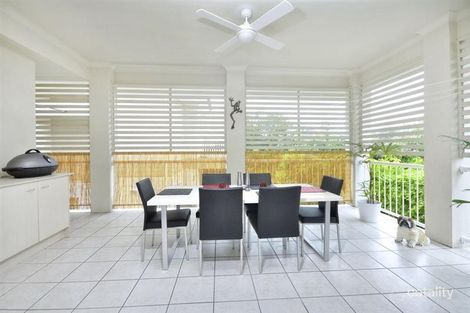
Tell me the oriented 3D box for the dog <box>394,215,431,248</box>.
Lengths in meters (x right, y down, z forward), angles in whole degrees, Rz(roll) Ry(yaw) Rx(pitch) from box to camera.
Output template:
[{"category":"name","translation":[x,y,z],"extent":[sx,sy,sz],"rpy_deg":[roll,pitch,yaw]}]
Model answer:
[{"category":"dog","translation":[2.938,1.255,5.484],"extent":[0.587,0.412,0.435],"rpy_deg":[15,-16,-23]}]

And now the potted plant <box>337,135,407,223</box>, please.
[{"category":"potted plant","translation":[2.797,0.548,6.657],"extent":[1.091,1.633,1.152],"rpy_deg":[9,-8,-8]}]

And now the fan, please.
[{"category":"fan","translation":[0.178,-2.068,5.377],"extent":[1.602,0.628,1.506],"rpy_deg":[-2,0,10]}]
